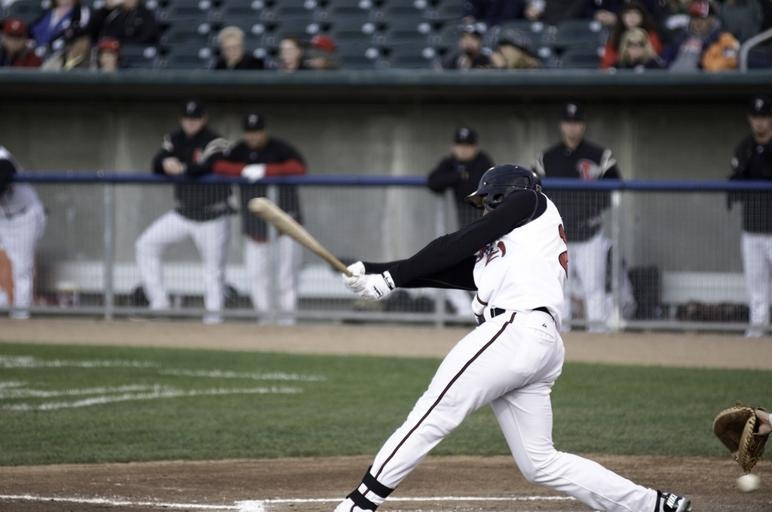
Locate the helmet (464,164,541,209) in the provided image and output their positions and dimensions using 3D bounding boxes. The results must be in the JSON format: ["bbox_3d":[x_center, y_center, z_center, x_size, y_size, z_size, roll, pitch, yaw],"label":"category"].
[{"bbox_3d":[0.886,-0.530,14.351,0.491,0.236,0.334,1,-11,3],"label":"helmet"}]

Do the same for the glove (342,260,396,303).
[{"bbox_3d":[-0.153,0.190,14.329,0.277,0.120,0.349,15,-4,-37],"label":"glove"}]

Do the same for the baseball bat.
[{"bbox_3d":[-0.770,-0.150,16.145,0.942,0.178,0.135,40,-10,3],"label":"baseball bat"}]
